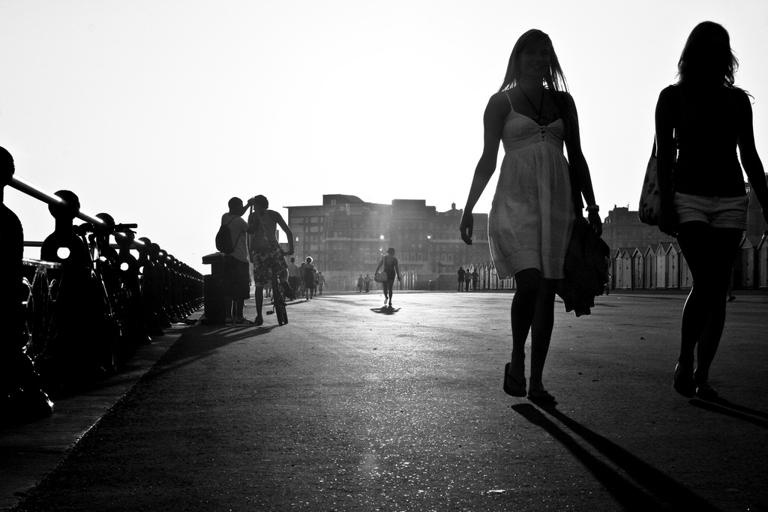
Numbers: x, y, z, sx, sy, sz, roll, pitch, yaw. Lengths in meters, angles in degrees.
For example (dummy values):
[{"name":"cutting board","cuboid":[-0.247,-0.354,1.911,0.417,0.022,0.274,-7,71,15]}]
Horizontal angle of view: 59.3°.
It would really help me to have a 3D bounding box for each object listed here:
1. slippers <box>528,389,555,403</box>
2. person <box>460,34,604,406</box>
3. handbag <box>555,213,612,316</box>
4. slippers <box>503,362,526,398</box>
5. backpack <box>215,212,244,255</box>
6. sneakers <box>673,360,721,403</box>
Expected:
[{"name":"slippers","cuboid":[1.094,0.977,4.699,0.192,0.073,0.136,-2,-1,16]},{"name":"person","cuboid":[1.061,-0.338,4.867,0.962,2.115,0.453,-2,-1,-5]},{"name":"handbag","cuboid":[1.442,0.068,4.853,0.424,0.595,0.315,-1,-1,-29]},{"name":"slippers","cuboid":[0.933,0.893,4.861,0.139,0.265,0.079,-2,4,1]},{"name":"backpack","cuboid":[-2.673,-0.349,11.813,0.382,0.665,0.671,3,-7,-30]},{"name":"sneakers","cuboid":[2.228,0.884,4.827,0.281,0.248,0.213,-2,-1,26]}]
